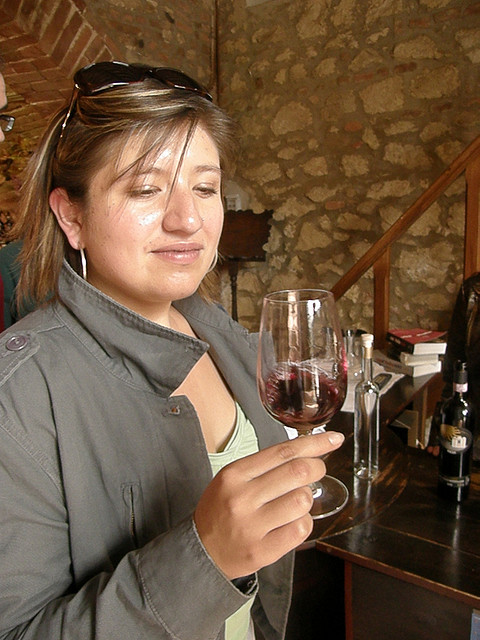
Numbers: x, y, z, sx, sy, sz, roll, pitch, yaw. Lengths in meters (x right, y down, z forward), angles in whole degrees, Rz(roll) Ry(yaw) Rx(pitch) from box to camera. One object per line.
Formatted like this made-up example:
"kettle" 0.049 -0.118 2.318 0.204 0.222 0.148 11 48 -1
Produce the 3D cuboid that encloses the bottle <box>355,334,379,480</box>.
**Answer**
"bottle" 0.279 0.177 1.140 0.056 0.294 0.156 3 5 14

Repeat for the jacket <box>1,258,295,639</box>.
"jacket" -0.170 0.151 0.703 0.343 0.450 0.348 1 5 -4

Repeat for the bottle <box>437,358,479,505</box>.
"bottle" 0.436 0.208 1.038 0.074 0.268 0.171 3 5 21

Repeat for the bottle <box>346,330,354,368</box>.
"bottle" 0.396 0.102 1.890 0.031 0.127 0.083 2 5 10
